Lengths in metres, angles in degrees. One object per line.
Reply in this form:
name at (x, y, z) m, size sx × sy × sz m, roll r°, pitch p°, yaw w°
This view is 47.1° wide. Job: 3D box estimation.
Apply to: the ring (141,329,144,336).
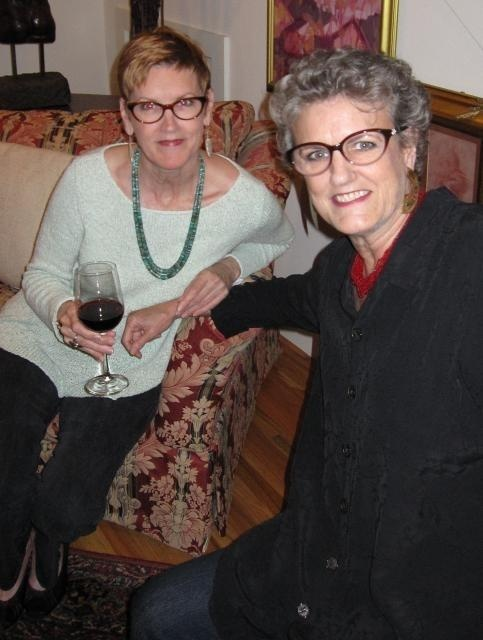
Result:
ring at (-0.260, 0.033, 1.452) m, size 0.012 × 0.009 × 0.011 m, roll 1°, pitch 40°, yaw -1°
